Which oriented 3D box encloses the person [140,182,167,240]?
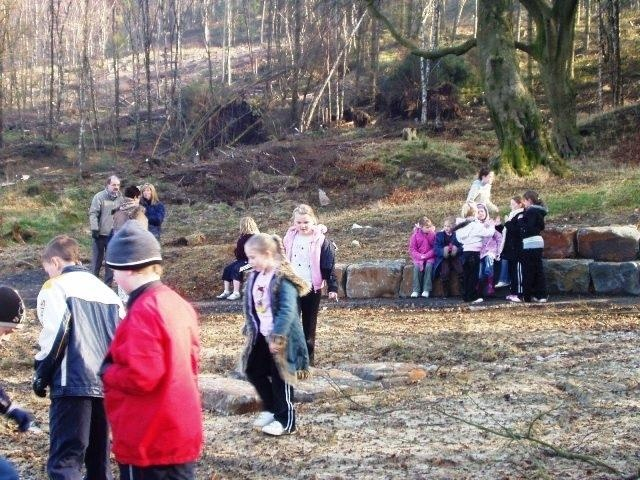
[{"bbox_3d":[-7.743,-1.507,66.281,0.926,2.872,0.893,-4,8,-15],"label":"person"}]
